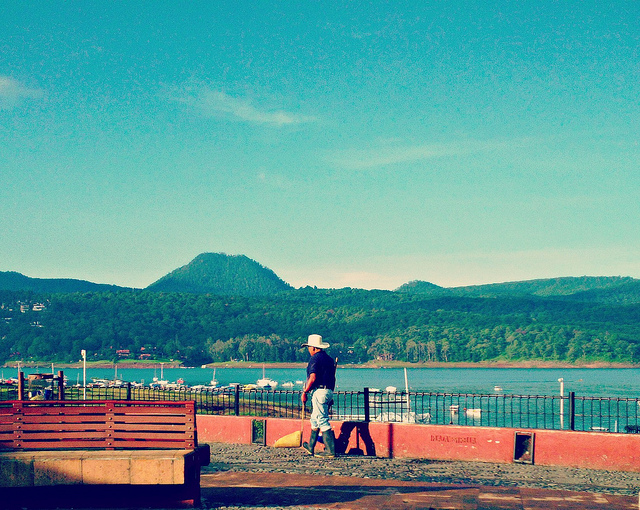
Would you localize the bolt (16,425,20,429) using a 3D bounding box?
[{"bbox_3d":[-5.633,3.207,22.850,0.053,0.048,0.150,-18,8,-27],"label":"bolt"}]

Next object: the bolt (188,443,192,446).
[{"bbox_3d":[-2.462,3.557,23.007,0.060,0.055,0.013,2,2,-3],"label":"bolt"}]

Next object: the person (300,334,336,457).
[{"bbox_3d":[-0.064,3.024,26.417,0.701,2.657,1.430,-1,-9,0],"label":"person"}]

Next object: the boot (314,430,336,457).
[{"bbox_3d":[0.079,4.082,26.490,0.415,0.579,0.718,2,-9,-13],"label":"boot"}]

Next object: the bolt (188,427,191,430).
[{"bbox_3d":[-2.470,3.260,23.032,0.034,0.021,0.031,-2,28,3],"label":"bolt"}]

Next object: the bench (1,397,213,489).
[{"bbox_3d":[-4.091,3.589,23.257,3.715,1.674,1.036,-1,-9,0],"label":"bench"}]

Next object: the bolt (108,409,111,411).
[{"bbox_3d":[-3.961,2.914,23.026,0.042,0.039,0.074,-1,-5,-6],"label":"bolt"}]

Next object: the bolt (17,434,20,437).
[{"bbox_3d":[-5.633,3.370,22.844,0.037,0.008,0.033,11,33,-4],"label":"bolt"}]

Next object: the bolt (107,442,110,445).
[{"bbox_3d":[-3.970,3.534,22.946,0.052,0.048,0.012,1,-5,-15],"label":"bolt"}]
